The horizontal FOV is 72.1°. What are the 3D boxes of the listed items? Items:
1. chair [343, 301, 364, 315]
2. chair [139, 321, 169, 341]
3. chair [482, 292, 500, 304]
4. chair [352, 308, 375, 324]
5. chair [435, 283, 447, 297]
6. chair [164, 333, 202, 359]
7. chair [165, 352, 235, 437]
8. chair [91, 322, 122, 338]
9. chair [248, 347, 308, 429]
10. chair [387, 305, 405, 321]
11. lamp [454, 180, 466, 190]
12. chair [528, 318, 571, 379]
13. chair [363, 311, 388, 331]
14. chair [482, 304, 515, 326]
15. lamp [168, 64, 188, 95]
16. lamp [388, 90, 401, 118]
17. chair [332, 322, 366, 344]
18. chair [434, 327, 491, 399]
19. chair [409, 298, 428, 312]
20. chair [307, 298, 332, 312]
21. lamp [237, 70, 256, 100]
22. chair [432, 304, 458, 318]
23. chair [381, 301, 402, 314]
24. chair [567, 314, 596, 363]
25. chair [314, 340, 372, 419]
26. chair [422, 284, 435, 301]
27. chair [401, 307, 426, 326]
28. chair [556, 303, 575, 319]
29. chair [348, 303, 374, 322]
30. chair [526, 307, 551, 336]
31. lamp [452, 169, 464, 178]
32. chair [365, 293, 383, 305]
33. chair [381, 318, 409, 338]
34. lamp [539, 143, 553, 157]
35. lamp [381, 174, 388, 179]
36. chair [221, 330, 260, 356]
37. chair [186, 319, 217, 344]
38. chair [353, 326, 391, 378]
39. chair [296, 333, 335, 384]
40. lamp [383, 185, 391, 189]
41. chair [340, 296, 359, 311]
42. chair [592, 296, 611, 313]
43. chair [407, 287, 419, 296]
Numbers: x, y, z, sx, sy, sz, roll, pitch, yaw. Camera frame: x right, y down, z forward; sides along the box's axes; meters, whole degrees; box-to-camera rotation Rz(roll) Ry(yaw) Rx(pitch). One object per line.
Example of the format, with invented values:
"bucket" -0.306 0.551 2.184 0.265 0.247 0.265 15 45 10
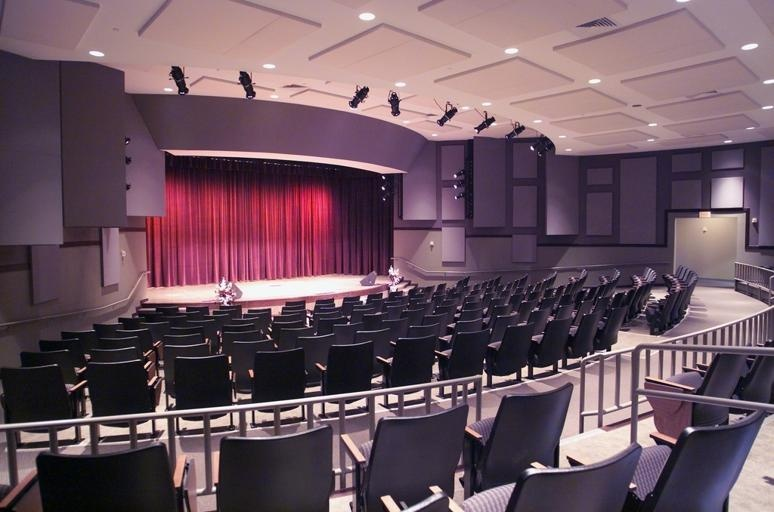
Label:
"chair" -0.710 1.013 10.825 0.293 0.409 0.293 -2 7 -25
"chair" -3.548 1.148 8.123 0.245 0.341 0.270 2 2 -4
"chair" 2.064 0.821 10.513 0.235 0.310 0.253 0 4 -19
"chair" -0.457 1.013 9.302 0.243 0.365 0.245 -2 8 -25
"chair" 1.256 0.771 12.450 0.263 0.391 0.274 -2 4 -38
"chair" -2.807 1.213 7.292 0.249 0.436 0.285 1 3 -6
"chair" -2.227 1.681 6.491 0.711 1.048 0.892 -4 4 -41
"chair" -4.490 1.168 8.475 0.342 0.297 0.395 0 -6 4
"chair" -1.351 1.563 6.927 0.921 1.278 0.908 0 2 -15
"chair" 0.143 0.983 9.382 0.214 0.305 0.217 -1 3 -21
"lamp" 2.401 -2.365 17.595 0.297 0.220 0.145 -3 6 25
"chair" 2.302 1.311 7.535 0.668 0.907 0.482 -3 3 -31
"chair" -0.218 1.031 8.527 0.232 0.313 0.264 -1 7 -17
"chair" 1.860 0.941 9.002 0.369 0.472 0.396 -2 6 -20
"lamp" -3.970 -3.389 10.135 0.291 0.582 1.943 -2 3 -20
"lamp" 0.147 -3.282 11.341 0.326 0.595 0.165 -2 20 1
"chair" -0.557 1.119 7.780 0.313 0.470 0.323 -2 5 -22
"chair" 1.031 1.355 7.037 0.650 0.831 0.694 0 -3 -18
"chair" 0.570 0.871 9.415 0.199 0.269 0.221 0 9 -8
"chair" -1.538 1.096 12.056 0.321 0.465 0.323 0 1 -31
"lamp" -2.750 -3.394 10.452 0.273 0.511 1.375 -2 3 -14
"chair" 1.067 0.942 9.462 0.254 0.351 0.252 -1 5 -22
"chair" 0.111 0.917 9.670 0.202 0.270 0.210 0 5 -20
"chair" 2.875 1.143 7.753 0.588 0.666 0.263 -3 4 -37
"chair" -0.474 1.484 6.609 0.733 1.000 0.726 -1 2 -17
"chair" 0.906 0.804 11.865 0.261 0.388 0.264 -3 3 -36
"chair" 0.448 0.985 8.766 0.257 0.336 0.273 -1 6 -19
"chair" 2.944 0.907 8.767 0.236 0.313 0.247 -3 8 -21
"chair" -0.463 1.001 9.445 0.247 0.369 0.242 2 -1 -36
"chair" 2.256 0.973 7.890 0.308 0.456 0.304 -4 9 -34
"lamp" 2.371 -2.731 17.344 0.329 0.264 0.460 -1 3 -5
"chair" -0.249 0.876 11.045 0.184 0.323 0.218 -3 7 -43
"chair" 0.144 1.074 8.115 0.307 0.394 0.310 -1 5 -23
"lamp" 4.870 -3.278 16.285 0.176 0.177 0.513 -37 30 -21
"lamp" -0.094 -2.671 17.823 0.151 0.063 0.208 -2 1 10
"chair" -2.057 1.154 7.473 0.364 0.494 0.391 0 7 -9
"chair" -2.989 1.228 8.718 0.362 0.509 0.369 0 8 -8
"chair" -0.182 1.331 7.557 0.564 0.751 0.614 -1 1 -23
"chair" -0.982 1.395 7.223 0.565 0.800 0.629 -2 6 -15
"lamp" -0.037 -2.281 17.434 0.221 0.149 0.547 0 3 16
"chair" -0.762 0.992 11.200 0.256 0.383 0.264 -1 3 -38
"chair" 3.872 0.870 9.604 0.237 0.307 0.254 -1 13 -17
"chair" 0.593 0.809 12.326 0.171 0.247 0.174 -1 4 -43
